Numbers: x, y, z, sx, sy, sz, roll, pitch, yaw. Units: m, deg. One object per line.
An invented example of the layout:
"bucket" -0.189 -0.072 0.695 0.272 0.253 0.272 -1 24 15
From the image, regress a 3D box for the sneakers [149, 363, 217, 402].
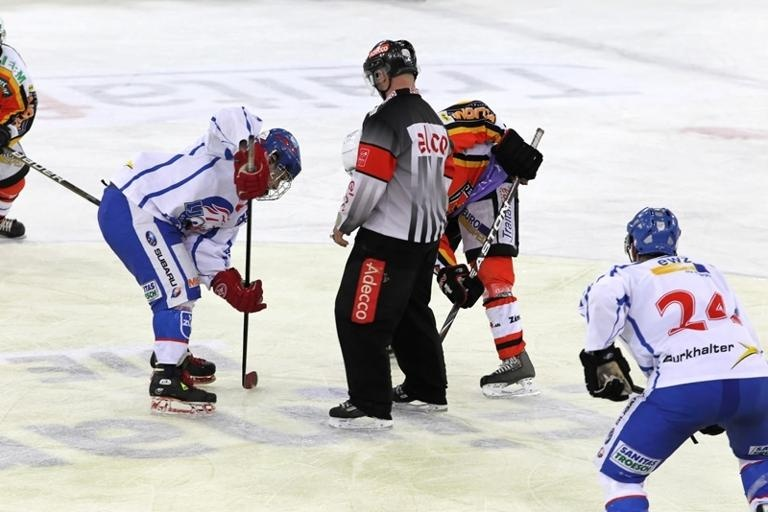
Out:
"sneakers" -1.162 0.728 5.153 0.329 0.221 0.216 12 19 29

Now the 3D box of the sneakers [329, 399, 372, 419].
"sneakers" -0.204 0.875 5.129 0.267 0.080 0.081 -1 5 3

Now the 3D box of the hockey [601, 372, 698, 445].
"hockey" 1.243 0.685 4.365 0.360 0.375 0.182 0 2 38

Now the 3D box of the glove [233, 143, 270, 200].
"glove" -0.743 -0.473 5.055 0.258 0.273 0.156 2 -6 -38

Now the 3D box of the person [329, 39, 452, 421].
"person" 0.107 -0.115 5.093 0.693 2.137 0.795 5 19 3

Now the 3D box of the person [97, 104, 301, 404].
"person" -1.090 -0.002 5.186 1.161 1.696 0.696 2 19 -6

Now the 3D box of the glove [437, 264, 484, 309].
"glove" 0.439 0.157 5.556 0.303 0.240 0.136 43 51 11

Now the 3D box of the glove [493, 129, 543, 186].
"glove" 0.845 -0.628 5.664 0.293 0.347 0.148 40 6 -13
